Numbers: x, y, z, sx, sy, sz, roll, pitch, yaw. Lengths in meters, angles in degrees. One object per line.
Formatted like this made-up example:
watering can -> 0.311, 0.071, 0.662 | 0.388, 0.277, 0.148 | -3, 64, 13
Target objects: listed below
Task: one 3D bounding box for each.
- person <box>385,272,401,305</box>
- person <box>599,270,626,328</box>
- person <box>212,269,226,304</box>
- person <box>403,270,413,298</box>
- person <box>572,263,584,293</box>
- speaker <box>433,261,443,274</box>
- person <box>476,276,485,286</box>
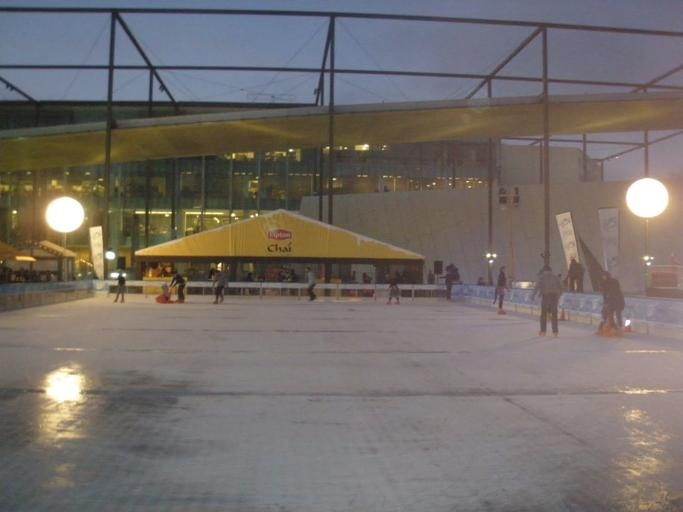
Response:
person -> 2.477, 1.591, 36.031 | 0.806, 2.331, 0.942 | -1, -25, 6
person -> 7.888, 1.276, 21.651 | 0.642, 1.629, 1.057 | 3, 5, 21
person -> -5.385, 1.377, 32.758 | 0.486, 1.411, 1.550 | 0, 5, -10
person -> 3.400, 1.475, 38.853 | 0.478, 1.265, 1.050 | 2, 5, 5
person -> 9.896, 0.892, 31.005 | 0.383, 1.171, 1.888 | 3, 5, 17
speaker -> 5.246, 0.622, 40.228 | 0.412, 0.747, 1.035 | 2, 5, 3
person -> 9.010, 1.580, 48.301 | 0.392, 0.482, 0.796 | -1, -3, 11
